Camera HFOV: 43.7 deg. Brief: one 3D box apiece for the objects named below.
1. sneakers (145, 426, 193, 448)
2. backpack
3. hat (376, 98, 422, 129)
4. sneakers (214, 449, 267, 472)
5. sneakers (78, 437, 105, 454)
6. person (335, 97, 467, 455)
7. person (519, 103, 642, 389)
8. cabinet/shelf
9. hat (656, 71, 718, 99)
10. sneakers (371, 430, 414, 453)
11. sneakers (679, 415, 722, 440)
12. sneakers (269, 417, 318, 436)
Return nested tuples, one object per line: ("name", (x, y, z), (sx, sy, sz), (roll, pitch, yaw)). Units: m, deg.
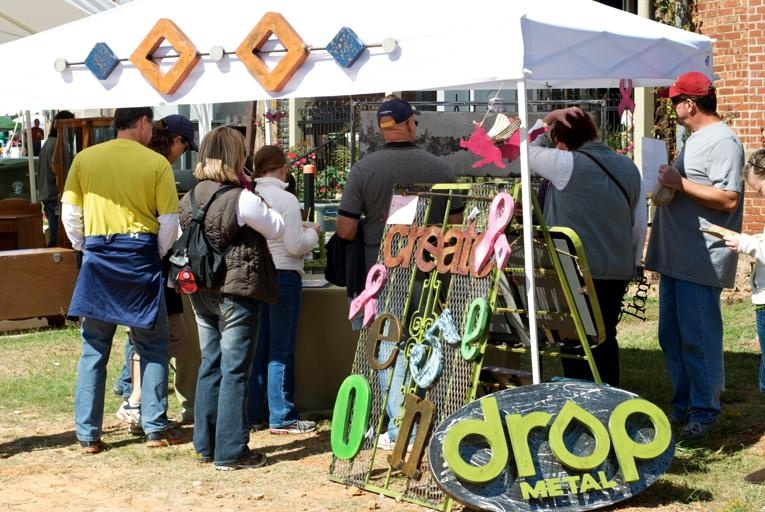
("sneakers", (-1.834, 1.585, 8.310), (0.400, 0.195, 0.171), (-7, 11, -35))
("backpack", (-1.449, -0.115, 7.636), (0.577, 0.862, 0.355), (-1, 10, 4))
("hat", (0.150, -1.193, 8.005), (0.197, 0.169, 0.276), (11, 16, 44))
("sneakers", (-1.156, 1.640, 7.825), (0.390, 0.196, 0.160), (-9, 10, -21))
("sneakers", (-2.466, 1.638, 8.142), (0.094, 0.113, 0.236), (3, 8, 11))
("person", (0.129, 0.182, 7.947), (0.997, 2.899, 0.951), (-2, 10, -4))
("person", (1.739, -0.018, 8.121), (0.925, 2.412, 0.738), (2, 10, 16))
("cabinet/shelf", (-4.392, -1.274, 13.590), (0.865, 1.265, 0.904), (-5, 4, -9))
("hat", (2.552, -1.407, 7.970), (0.297, 0.127, 0.198), (-1, 16, 38))
("sneakers", (0.086, 1.558, 7.866), (0.168, 0.217, 0.469), (3, -5, -28))
("sneakers", (2.645, 1.489, 8.071), (0.369, 0.150, 0.165), (-8, -32, 6))
("sneakers", (-0.771, 1.544, 8.463), (0.365, 0.174, 0.154), (-8, -3, 2))
